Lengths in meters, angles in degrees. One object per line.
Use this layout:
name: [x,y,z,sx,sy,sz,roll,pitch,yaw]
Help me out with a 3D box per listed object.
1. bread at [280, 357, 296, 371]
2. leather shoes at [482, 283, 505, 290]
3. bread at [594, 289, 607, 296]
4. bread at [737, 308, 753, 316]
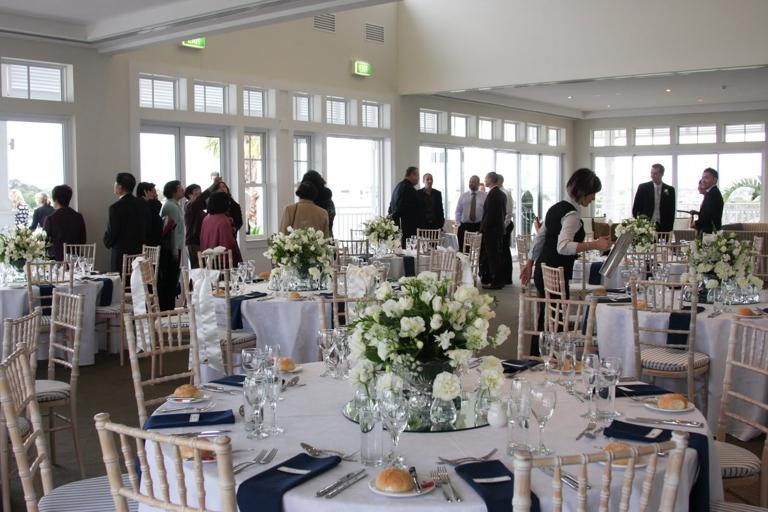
bread: [-0.562,0.622,3.353,0.062,0.029,0.077,5,15,-5]
leather shoes: [2.042,0.564,11.079,0.416,0.172,0.140,4,2,35]
bread: [2.024,0.332,5.455,0.100,0.027,0.109,1,5,12]
bread: [2.711,0.410,4.392,0.073,0.043,0.075,-2,3,-5]
